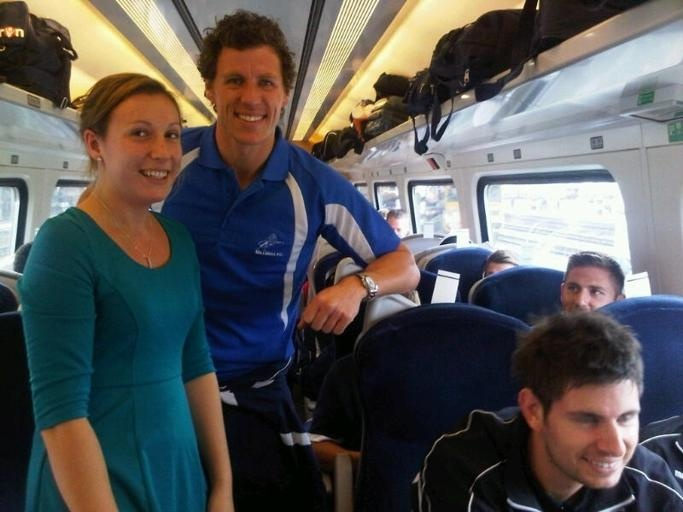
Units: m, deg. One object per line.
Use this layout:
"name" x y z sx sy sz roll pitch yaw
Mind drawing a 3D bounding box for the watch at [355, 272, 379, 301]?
"watch" 0.114 0.126 2.068 0.070 0.107 0.102 -25 -7 -37
